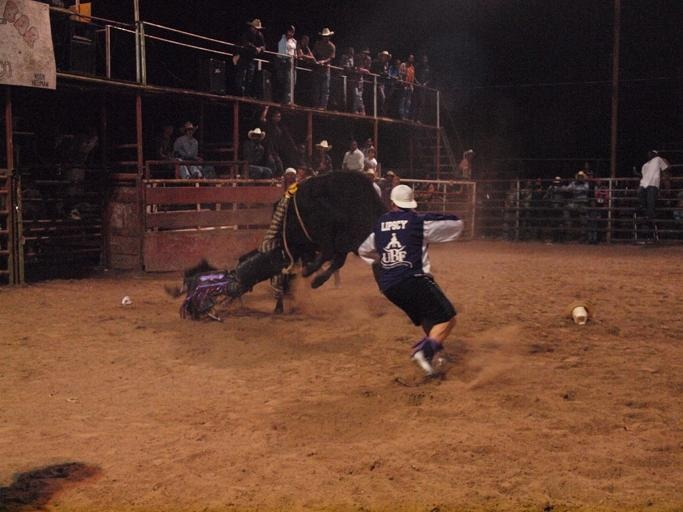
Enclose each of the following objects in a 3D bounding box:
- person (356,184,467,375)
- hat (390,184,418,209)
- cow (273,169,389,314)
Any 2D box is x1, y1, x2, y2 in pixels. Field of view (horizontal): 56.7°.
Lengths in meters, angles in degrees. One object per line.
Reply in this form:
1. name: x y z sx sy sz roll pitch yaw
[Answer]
1. person: 0.793 0.258 7.146 0.741 2.062 1.097 -7 15 -34
2. hat: 0.665 -0.688 7.142 0.223 0.147 0.298 -9 26 -17
3. cow: -0.129 -0.426 9.729 0.759 1.540 2.676 -3 6 40
